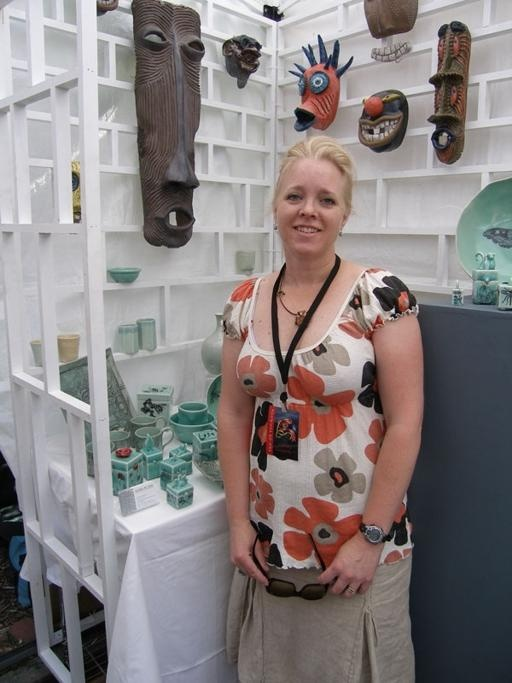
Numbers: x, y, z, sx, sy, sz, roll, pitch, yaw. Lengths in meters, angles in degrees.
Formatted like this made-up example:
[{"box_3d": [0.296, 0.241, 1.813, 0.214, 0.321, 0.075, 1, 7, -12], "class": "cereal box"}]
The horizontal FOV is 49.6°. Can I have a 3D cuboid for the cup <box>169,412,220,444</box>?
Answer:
[{"box_3d": [-0.163, 0.233, 1.490, 0.136, 0.066, 0.138, 0, 4, 0], "class": "cup"}]

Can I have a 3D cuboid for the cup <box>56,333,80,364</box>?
[{"box_3d": [-0.502, 0.022, 1.527, 0.070, 0.074, 0.068, 1, 11, 0], "class": "cup"}]

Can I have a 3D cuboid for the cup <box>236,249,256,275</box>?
[{"box_3d": [-0.037, -0.280, 1.998, 0.087, 0.098, 0.087, 0, 12, 0], "class": "cup"}]

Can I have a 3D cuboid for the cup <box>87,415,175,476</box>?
[{"box_3d": [-0.338, 0.271, 1.472, 0.197, 0.071, 0.115, -5, 7, -44], "class": "cup"}]

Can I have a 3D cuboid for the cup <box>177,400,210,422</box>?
[{"box_3d": [-0.176, 0.202, 1.555, 0.063, 0.046, 0.062, 0, 7, 0], "class": "cup"}]

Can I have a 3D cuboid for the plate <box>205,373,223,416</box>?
[{"box_3d": [-0.127, 0.164, 1.651, 0.026, 0.098, 0.097, 2, 15, -34], "class": "plate"}]
